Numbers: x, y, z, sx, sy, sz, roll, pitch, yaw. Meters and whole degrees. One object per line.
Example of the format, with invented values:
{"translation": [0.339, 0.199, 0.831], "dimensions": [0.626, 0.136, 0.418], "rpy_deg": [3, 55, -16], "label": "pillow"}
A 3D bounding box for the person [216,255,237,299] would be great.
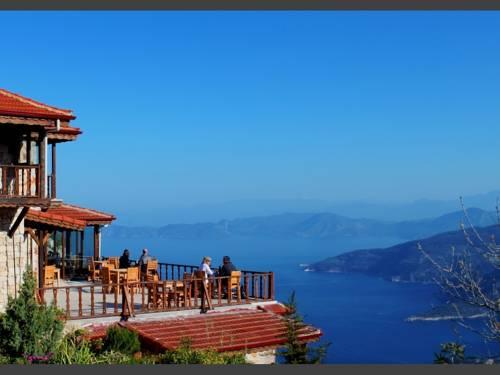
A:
{"translation": [-1.126, 3.953, 32.015], "dimensions": [1.315, 1.558, 1.199], "rpy_deg": [-1, 3, -28], "label": "person"}
